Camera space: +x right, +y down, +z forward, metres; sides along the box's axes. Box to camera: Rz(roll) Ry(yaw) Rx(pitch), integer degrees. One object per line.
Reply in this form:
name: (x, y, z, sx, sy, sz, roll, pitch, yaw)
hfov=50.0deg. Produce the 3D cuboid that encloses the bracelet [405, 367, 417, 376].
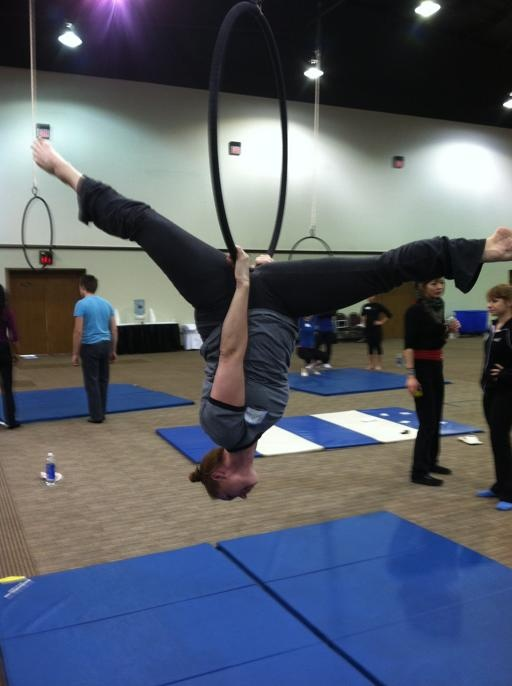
bracelet: (1.084, 0.200, 3.847, 0.063, 0.055, 0.061, 0, 3, 10)

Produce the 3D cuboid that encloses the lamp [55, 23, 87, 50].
lamp: (-3.172, -5.295, 9.599, 0.486, 0.452, 0.131, 14, -14, -42)

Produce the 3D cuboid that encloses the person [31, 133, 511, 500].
person: (0.014, -0.047, 1.958, 1.522, 1.372, 0.578, 1, 3, 31)
